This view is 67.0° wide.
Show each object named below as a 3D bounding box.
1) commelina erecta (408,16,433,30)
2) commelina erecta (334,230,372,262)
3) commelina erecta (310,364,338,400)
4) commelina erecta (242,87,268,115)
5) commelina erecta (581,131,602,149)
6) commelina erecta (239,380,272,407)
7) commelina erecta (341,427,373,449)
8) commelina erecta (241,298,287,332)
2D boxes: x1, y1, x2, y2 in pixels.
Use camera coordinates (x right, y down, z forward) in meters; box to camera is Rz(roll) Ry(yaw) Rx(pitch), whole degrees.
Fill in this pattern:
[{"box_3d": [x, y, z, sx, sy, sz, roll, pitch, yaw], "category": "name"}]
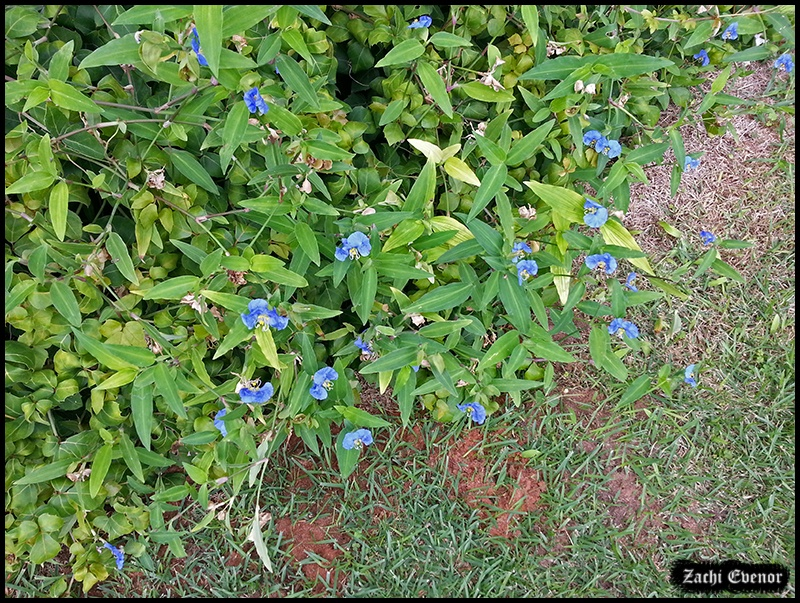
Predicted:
[{"box_3d": [0.095, -1.414, 3.050, 0.112, 0.041, 0.077, 0, 102, 26], "category": "commelina erecta"}, {"box_3d": [-0.227, -0.263, 2.807, 0.173, 0.101, 0.096, -9, 67, 4], "category": "commelina erecta"}, {"box_3d": [-0.374, 0.386, 2.894, 0.145, 0.150, 0.062, -21, 24, -25], "category": "commelina erecta"}, {"box_3d": [-0.638, -0.869, 2.671, 0.095, 0.113, 0.044, -37, 57, -7], "category": "commelina erecta"}, {"box_3d": [1.015, -0.876, 3.250, 0.087, 0.092, 0.022, -34, 42, 27], "category": "commelina erecta"}, {"box_3d": [-0.683, 0.438, 2.841, 0.121, 0.084, 0.120, -4, 78, -9], "category": "commelina erecta"}, {"box_3d": [-0.222, 0.685, 2.995, 0.140, 0.120, 0.088, -6, 67, 6], "category": "commelina erecta"}, {"box_3d": [-0.611, 0.058, 2.697, 0.177, 0.127, 0.105, -8, 67, 5], "category": "commelina erecta"}]
